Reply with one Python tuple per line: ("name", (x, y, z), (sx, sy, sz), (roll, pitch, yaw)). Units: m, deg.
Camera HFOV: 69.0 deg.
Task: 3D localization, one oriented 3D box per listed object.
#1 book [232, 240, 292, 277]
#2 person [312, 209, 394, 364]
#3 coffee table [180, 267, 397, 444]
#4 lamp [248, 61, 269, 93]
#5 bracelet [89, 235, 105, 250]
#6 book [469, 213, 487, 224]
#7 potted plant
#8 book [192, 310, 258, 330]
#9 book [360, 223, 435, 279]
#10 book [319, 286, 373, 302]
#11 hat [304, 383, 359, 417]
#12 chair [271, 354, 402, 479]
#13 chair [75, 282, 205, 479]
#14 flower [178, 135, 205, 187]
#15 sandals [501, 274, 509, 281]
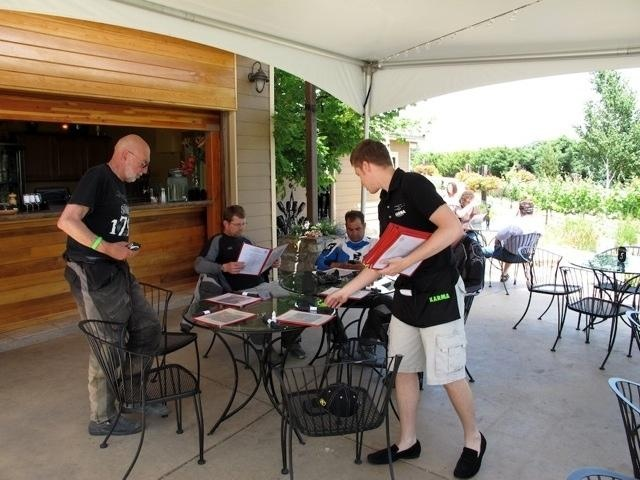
("book", (-0.506, 0.157, 3.877), (0.218, 0.314, 0.528), (5, 9, 25))
("person", (0.400, 0.372, 4.441), (0.789, 1.224, 0.744), (1, 12, 40))
("coffee table", (-0.298, 0.840, 3.872), (1.273, 0.776, 1.365), (10, 7, 41))
("lamp", (-0.882, -2.409, 6.918), (0.276, 0.454, 0.357), (4, 9, 24))
("bracelet", (-1.455, 0.023, 3.050), (0.086, 0.024, 0.084), (-31, 22, 30))
("book", (3.594, -0.482, 10.626), (0.362, 0.163, 0.514), (2, 3, 22))
("potted plant", (-0.073, 0.122, 7.522), (0.831, 0.686, 1.025), (-3, 2, -19))
("book", (-0.658, 0.545, 3.206), (0.295, 0.032, 0.353), (6, 10, 35))
("book", (0.421, 0.041, 2.632), (0.257, 0.099, 0.327), (15, -37, -34))
("book", (0.196, 0.415, 3.573), (0.204, 0.041, 0.219), (2, 4, 27))
("hat", (0.067, 0.972, 2.826), (0.310, 0.143, 0.201), (5, 8, 5))
("chair", (0.109, 1.208, 3.081), (0.769, 1.040, 0.724), (-1, 9, -13))
("chair", (-1.314, 1.052, 3.355), (0.736, 1.060, 0.928), (-5, 18, -21))
("flower", (-1.875, -1.168, 6.860), (0.339, 0.789, 0.600), (-2, 9, -16))
("sandals", (2.900, 0.601, 7.320), (0.104, 0.104, 0.167), (-1, -3, 24))
